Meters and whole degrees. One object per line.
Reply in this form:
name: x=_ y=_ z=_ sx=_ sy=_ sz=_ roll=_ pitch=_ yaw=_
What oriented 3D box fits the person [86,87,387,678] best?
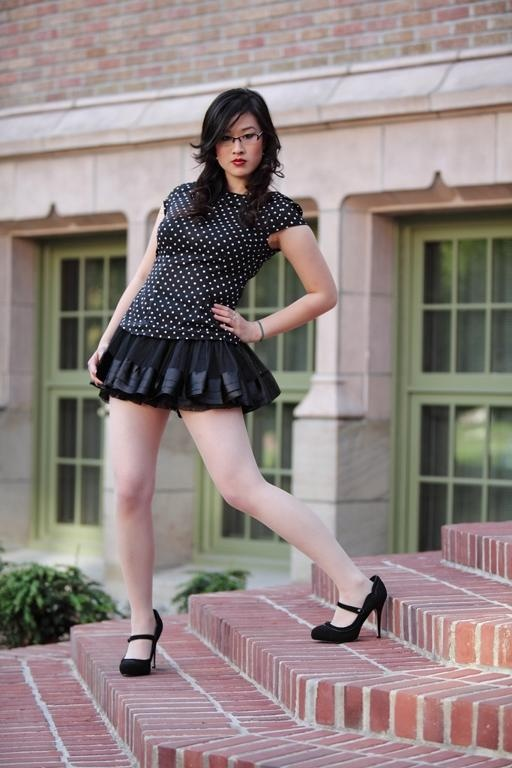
person: x=-0.138 y=0.036 z=3.060 sx=0.867 sy=1.720 sz=0.347 roll=-16 pitch=0 yaw=5

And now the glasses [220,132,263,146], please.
glasses: x=-0.043 y=-0.691 z=2.965 sx=0.111 sy=0.034 sz=0.027 roll=-14 pitch=0 yaw=-1
